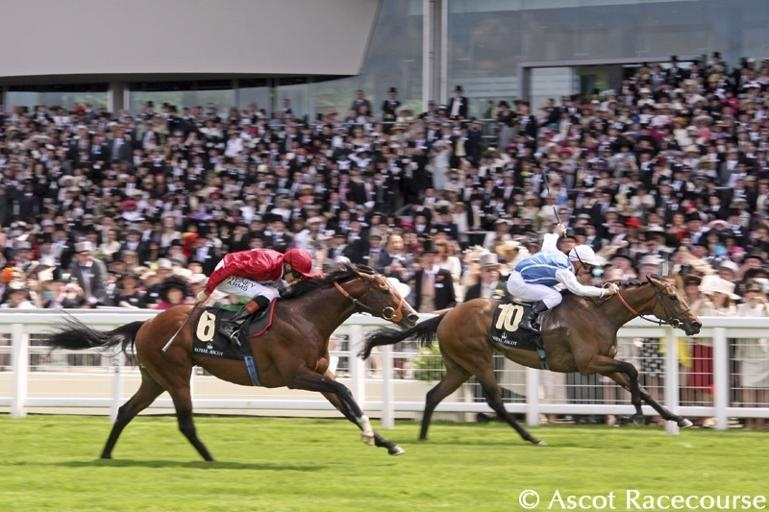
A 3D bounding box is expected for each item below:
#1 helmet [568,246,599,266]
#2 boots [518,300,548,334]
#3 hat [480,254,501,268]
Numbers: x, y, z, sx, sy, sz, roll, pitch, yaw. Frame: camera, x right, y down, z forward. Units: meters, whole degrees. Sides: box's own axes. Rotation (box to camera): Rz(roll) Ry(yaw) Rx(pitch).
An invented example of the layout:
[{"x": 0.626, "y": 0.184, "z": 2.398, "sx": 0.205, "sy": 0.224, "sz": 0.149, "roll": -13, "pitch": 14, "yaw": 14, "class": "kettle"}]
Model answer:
[{"x": 2.180, "y": 0.009, "z": 16.802, "sx": 0.399, "sy": 0.148, "sz": 0.226, "roll": 5, "pitch": 12, "yaw": 10, "class": "helmet"}, {"x": 1.609, "y": 0.685, "z": 16.503, "sx": 0.245, "sy": 0.353, "sz": 0.152, "roll": -2, "pitch": -1, "yaw": 32, "class": "boots"}, {"x": 1.208, "y": 0.062, "z": 17.764, "sx": 0.237, "sy": 0.170, "sz": 0.292, "roll": -1, "pitch": -1, "yaw": 3, "class": "hat"}]
